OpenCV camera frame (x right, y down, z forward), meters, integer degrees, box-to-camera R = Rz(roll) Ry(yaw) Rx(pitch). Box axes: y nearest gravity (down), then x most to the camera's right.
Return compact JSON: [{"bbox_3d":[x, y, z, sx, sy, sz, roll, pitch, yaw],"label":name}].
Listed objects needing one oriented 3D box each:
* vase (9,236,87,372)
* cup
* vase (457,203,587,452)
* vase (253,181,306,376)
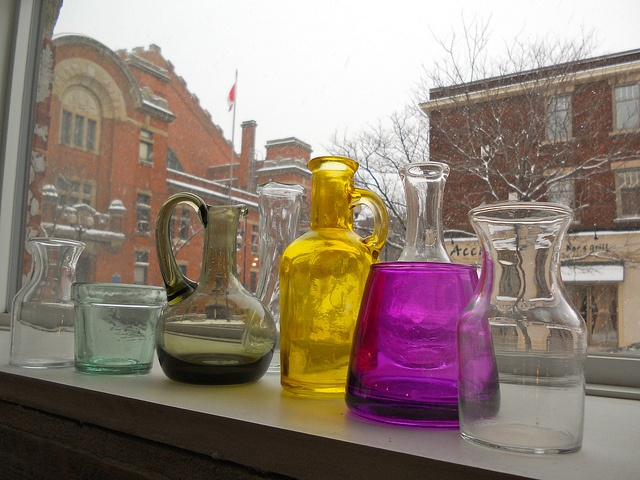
[{"bbox_3d":[-0.489,0.113,0.926,0.122,0.226,0.084,-4,6,-28],"label":"vase"},{"bbox_3d":[-0.357,0.152,0.929,0.166,0.155,0.177,4,-2,0],"label":"cup"},{"bbox_3d":[0.215,0.091,0.554,0.126,0.257,0.074,1,5,18],"label":"vase"},{"bbox_3d":[-0.076,0.035,0.947,0.088,0.274,0.117,-1,5,2],"label":"vase"}]
